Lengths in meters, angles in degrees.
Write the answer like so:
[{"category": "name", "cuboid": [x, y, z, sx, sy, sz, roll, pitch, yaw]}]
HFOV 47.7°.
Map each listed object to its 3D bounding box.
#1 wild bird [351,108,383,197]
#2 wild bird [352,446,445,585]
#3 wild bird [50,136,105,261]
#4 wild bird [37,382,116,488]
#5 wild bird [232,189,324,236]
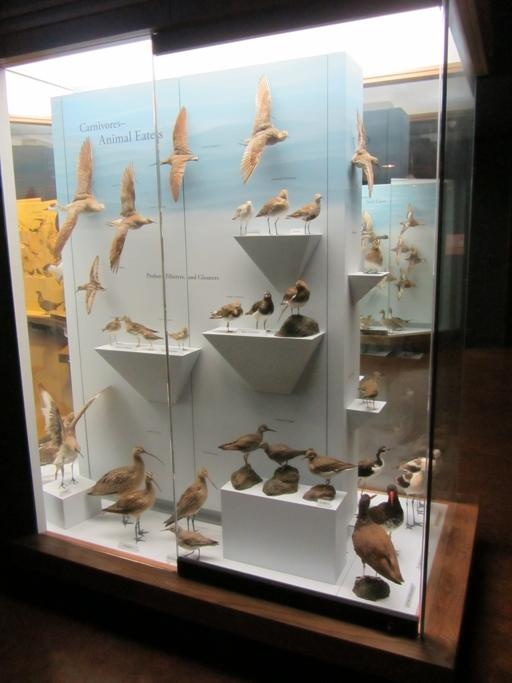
[{"category": "wild bird", "cuboid": [0.316, -0.543, 1.692, 0.066, 0.226, 0.029, 4, 13, 42]}, {"category": "wild bird", "cuboid": [0.393, 0.525, 1.717, 0.240, 0.394, 0.061, 1, 11, 32]}, {"category": "wild bird", "cuboid": [-0.844, -0.661, 2.707, 0.251, 0.534, 0.080, -6, 9, -10]}, {"category": "wild bird", "cuboid": [-0.720, 0.451, 2.740, 0.378, 0.448, 0.464, -11, -16, 34]}, {"category": "wild bird", "cuboid": [0.062, -0.411, 1.803, 0.280, 0.109, 0.032, 0, 10, 25]}]
